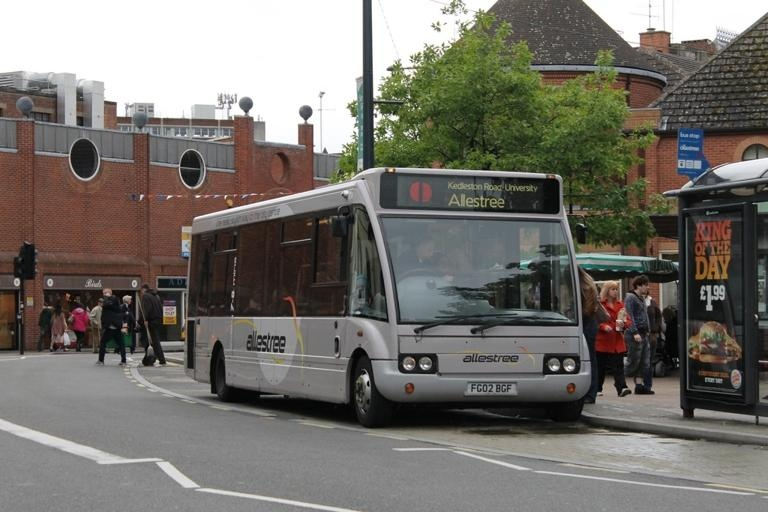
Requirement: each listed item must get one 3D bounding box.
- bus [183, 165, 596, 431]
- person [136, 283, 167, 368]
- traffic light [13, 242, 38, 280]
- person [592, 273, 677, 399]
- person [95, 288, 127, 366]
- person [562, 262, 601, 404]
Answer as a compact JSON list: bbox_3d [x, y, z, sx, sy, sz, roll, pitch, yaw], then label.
[{"bbox_3d":[-0.565,0.898,20.953,3.819,4.015,10.953,3,-5,-27],"label":"bus"},{"bbox_3d":[-6.855,1.969,31.136,0.959,2.690,1.113,-2,-2,-10],"label":"person"},{"bbox_3d":[-14.017,0.172,41.126,0.830,1.427,0.812,1,-2,-21],"label":"traffic light"},{"bbox_3d":[4.652,1.492,20.085,1.311,2.484,1.113,2,-1,-11],"label":"person"},{"bbox_3d":[-8.455,2.078,31.943,0.957,2.715,1.131,0,-1,-1],"label":"person"},{"bbox_3d":[3.686,1.445,19.230,0.675,2.620,0.612,1,-1,0],"label":"person"}]
